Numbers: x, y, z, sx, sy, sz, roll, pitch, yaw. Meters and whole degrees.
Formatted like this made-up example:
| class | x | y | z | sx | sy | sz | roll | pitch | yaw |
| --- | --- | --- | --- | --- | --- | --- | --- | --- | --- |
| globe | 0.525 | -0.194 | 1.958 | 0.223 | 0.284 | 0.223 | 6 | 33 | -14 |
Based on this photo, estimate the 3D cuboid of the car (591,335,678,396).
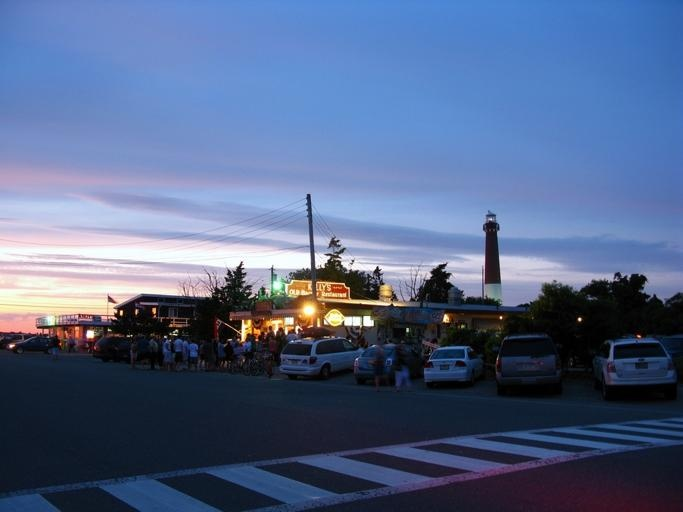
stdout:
| class | x | y | z | sx | sy | sz | roll | pitch | yaw |
| --- | --- | --- | --- | --- | --- | --- | --- | --- | --- |
| car | 8.576 | 3.222 | 20.541 | 1.417 | 1.234 | 2.810 | -1 | 0 | 8 |
